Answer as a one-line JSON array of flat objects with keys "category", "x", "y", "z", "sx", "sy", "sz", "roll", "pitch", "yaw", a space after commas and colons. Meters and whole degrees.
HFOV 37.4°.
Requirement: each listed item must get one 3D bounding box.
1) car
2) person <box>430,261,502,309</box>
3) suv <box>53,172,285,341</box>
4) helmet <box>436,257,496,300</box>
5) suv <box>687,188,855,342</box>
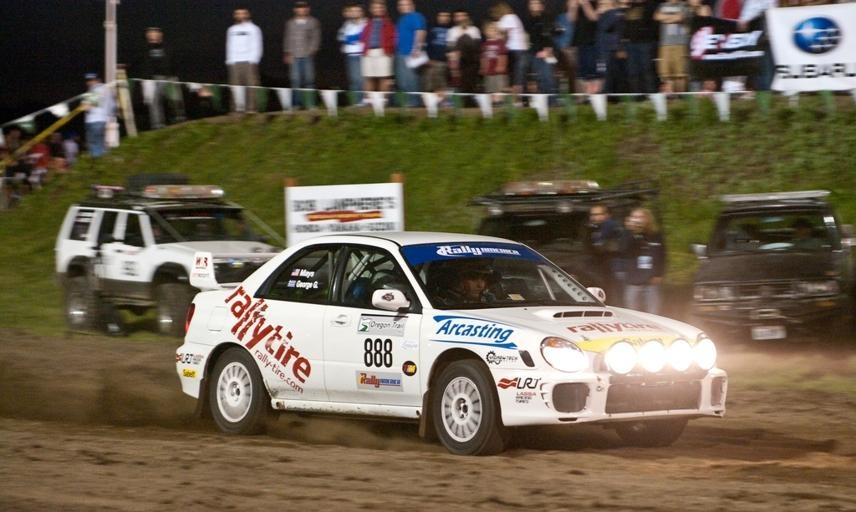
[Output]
[{"category": "car", "x": 0.152, "y": 1.134, "z": 16.239, "sx": 6.373, "sy": 2.662, "sz": 1.951, "roll": 7, "pitch": 15, "yaw": 20}, {"category": "person", "x": 0.426, "y": 0.359, "z": 16.273, "sx": 0.831, "sy": 0.360, "sz": 0.651, "roll": -9, "pitch": -9, "yaw": 44}, {"category": "suv", "x": -4.566, "y": -0.132, "z": 23.081, "sx": 2.642, "sy": 1.955, "sz": 4.374, "roll": 3, "pitch": -6, "yaw": -44}, {"category": "helmet", "x": 0.527, "y": 0.320, "z": 16.269, "sx": 0.548, "sy": 0.465, "sz": 0.666, "roll": 9, "pitch": -17, "yaw": -38}, {"category": "suv", "x": 5.789, "y": 0.152, "z": 21.097, "sx": 2.229, "sy": 1.531, "sz": 3.440, "roll": -1, "pitch": 0, "yaw": 20}]
